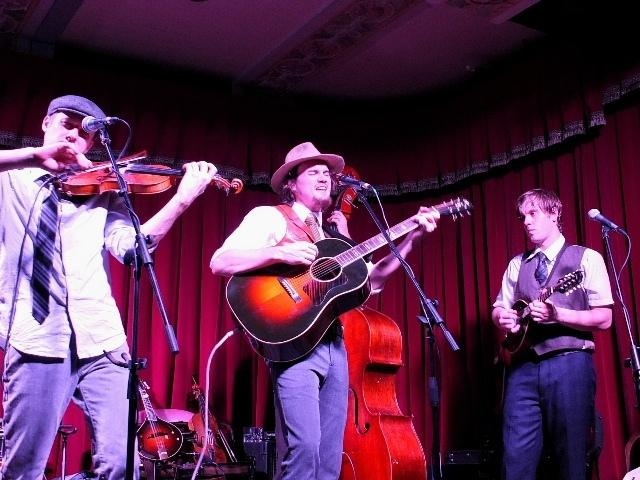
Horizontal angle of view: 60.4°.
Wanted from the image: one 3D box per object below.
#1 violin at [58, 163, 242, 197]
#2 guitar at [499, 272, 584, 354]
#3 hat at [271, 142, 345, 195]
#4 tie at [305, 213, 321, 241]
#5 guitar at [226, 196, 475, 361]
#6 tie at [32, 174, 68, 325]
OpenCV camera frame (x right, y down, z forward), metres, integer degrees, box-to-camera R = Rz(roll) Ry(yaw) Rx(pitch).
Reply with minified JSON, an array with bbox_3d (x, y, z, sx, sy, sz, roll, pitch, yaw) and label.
[{"bbox_3d":[-1.002,-0.323,3.063,0.746,0.135,0.306,-1,24,-32],"label":"violin"},{"bbox_3d":[1.606,0.533,4.091,0.083,0.325,0.798,10,-41,-16],"label":"guitar"},{"bbox_3d":[-0.143,-0.526,3.880,0.377,0.167,0.418,-12,-17,-44],"label":"hat"},{"bbox_3d":[-0.039,-0.083,3.550,0.073,0.199,0.029,5,-31,-32],"label":"tie"},{"bbox_3d":[0.259,0.141,3.486,1.759,0.269,0.719,-27,37,-23],"label":"guitar"},{"bbox_3d":[-1.274,0.086,2.596,0.064,0.530,0.186,1,1,33],"label":"tie"}]
